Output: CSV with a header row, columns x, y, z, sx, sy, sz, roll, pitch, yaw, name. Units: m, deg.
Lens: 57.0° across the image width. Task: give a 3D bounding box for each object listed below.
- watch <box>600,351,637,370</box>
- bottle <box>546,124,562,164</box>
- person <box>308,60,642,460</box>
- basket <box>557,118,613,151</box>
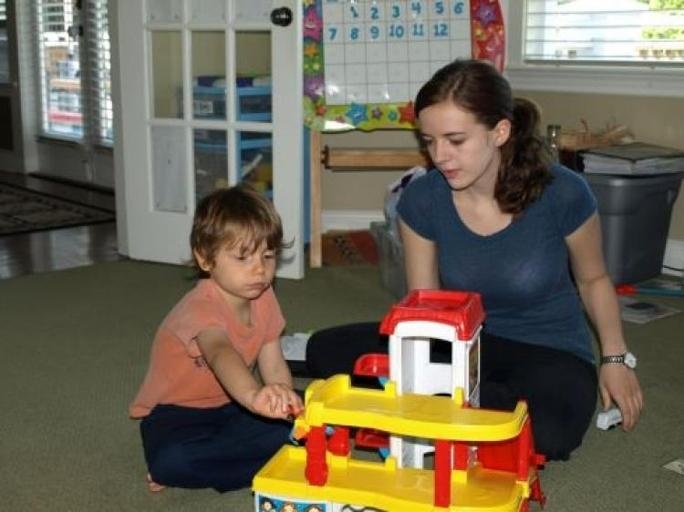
x,y,z,sx,sy,sz,roll,pitch,yaw,name
0.665,0.241,1.501,0.057,0.034,0.050,-2,-4,34,watch
0.910,-0.517,2.705,0.073,0.121,0.071,-8,30,5,bottle
0.327,0.013,1.599,0.545,0.888,0.888,-12,10,-39,person
1.134,-0.608,2.953,0.182,0.114,0.306,6,17,25,basket
